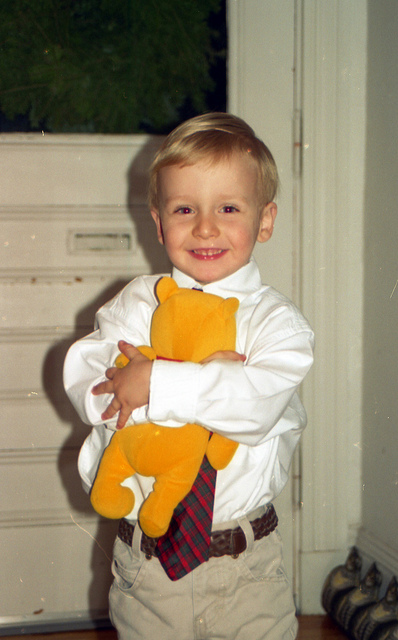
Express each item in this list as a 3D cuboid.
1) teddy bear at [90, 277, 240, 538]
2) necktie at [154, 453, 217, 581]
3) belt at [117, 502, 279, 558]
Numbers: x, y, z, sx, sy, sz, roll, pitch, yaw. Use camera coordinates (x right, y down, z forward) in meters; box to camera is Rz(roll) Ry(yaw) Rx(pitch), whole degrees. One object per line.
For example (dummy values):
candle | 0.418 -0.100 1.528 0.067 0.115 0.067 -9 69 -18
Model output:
teddy bear | -0.070 0.179 1.431 0.298 0.516 0.206 -1 10 4
necktie | -0.020 0.393 1.440 0.108 0.281 0.022 6 21 -9
belt | -0.043 0.487 1.623 0.314 0.071 0.329 10 -14 -21
